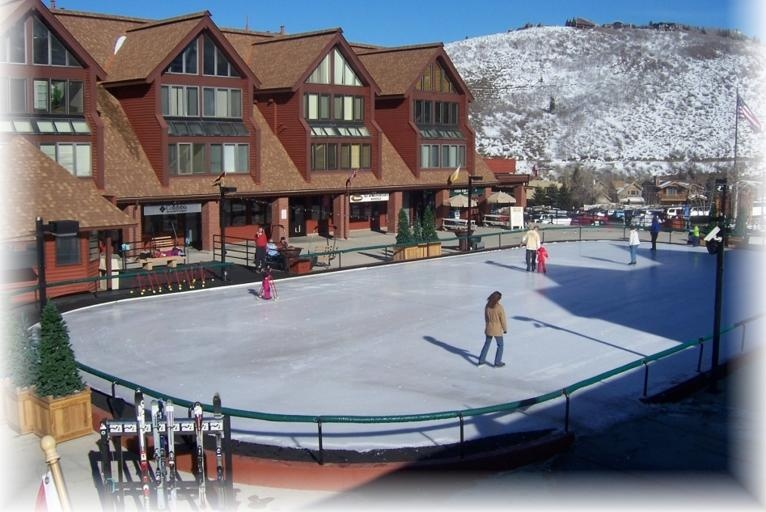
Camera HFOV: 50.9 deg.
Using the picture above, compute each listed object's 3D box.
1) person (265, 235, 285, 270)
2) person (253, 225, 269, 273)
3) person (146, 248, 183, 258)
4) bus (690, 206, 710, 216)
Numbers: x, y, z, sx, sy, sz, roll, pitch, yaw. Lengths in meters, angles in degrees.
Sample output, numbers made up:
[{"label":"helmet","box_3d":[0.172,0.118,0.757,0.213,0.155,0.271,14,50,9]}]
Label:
[{"label":"person","box_3d":[-5.265,-0.105,40.417,1.120,1.481,0.570,3,3,7]},{"label":"person","box_3d":[-5.920,-0.254,39.017,0.587,1.804,1.201,-4,2,-9]},{"label":"person","box_3d":[-10.711,-0.126,39.935,1.083,0.287,1.199,3,4,37]},{"label":"bus","box_3d":[32.627,-4.648,83.368,1.460,0.680,18.319,-3,3,21]}]
